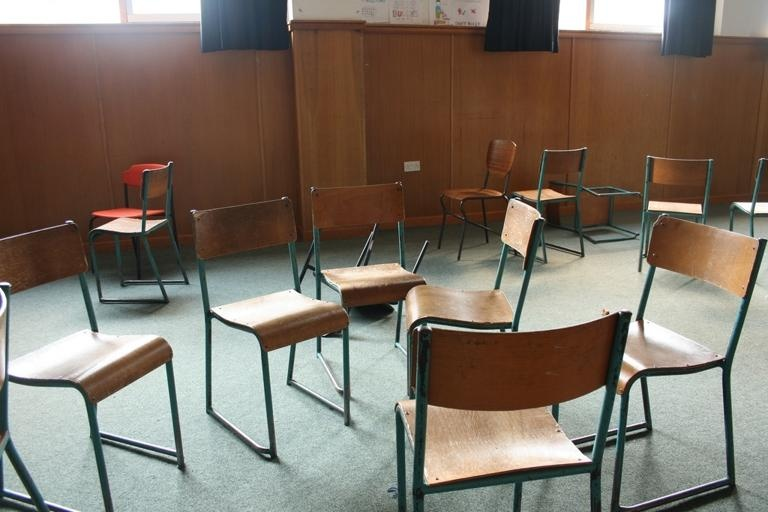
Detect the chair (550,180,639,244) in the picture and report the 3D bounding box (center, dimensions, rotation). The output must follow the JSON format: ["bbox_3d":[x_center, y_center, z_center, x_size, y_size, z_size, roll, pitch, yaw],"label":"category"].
[{"bbox_3d":[2.375,-0.447,5.966,0.618,0.530,0.883,6,2,30],"label":"chair"}]

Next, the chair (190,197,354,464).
[{"bbox_3d":[-0.596,0.344,3.141,0.885,1.194,0.823,6,16,15],"label":"chair"}]

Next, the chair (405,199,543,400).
[{"bbox_3d":[0.442,0.264,3.140,0.704,1.028,0.616,-2,15,-1],"label":"chair"}]

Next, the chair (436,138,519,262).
[{"bbox_3d":[0.930,-0.602,5.700,0.720,1.062,0.646,-6,16,-5],"label":"chair"}]
